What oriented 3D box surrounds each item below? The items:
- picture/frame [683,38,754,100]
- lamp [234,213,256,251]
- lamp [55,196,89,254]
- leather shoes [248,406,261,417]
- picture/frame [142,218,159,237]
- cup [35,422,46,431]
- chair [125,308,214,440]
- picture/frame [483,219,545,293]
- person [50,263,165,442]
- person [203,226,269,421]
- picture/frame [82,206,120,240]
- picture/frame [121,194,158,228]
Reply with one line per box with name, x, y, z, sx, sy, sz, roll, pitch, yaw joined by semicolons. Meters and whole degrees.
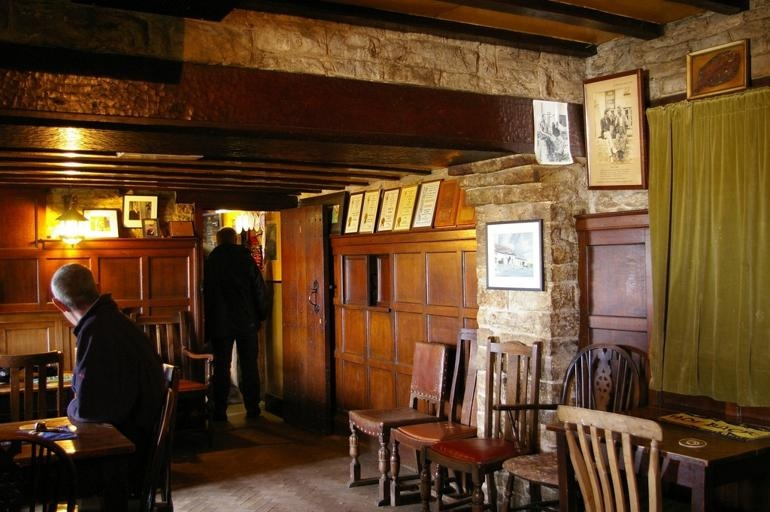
picture/frame;2.258;-1.255;4.025;0.076;0.439;0.555;7;-8;-43
lamp;-2.192;-0.393;9.364;0.355;0.538;0.146;-6;14;42
lamp;-3.613;-0.413;6.881;0.338;0.622;0.416;-2;2;-26
leather shoes;-1.795;2.116;8.237;0.160;0.137;0.148;2;2;7
picture/frame;-2.915;-0.356;7.382;0.263;0.277;0.031;2;0;-30
cup;-2.096;1.037;3.638;0.055;0.048;0.049;2;-6;-13
chair;-2.560;1.360;6.923;1.034;1.271;0.995;3;-1;32
picture/frame;1.090;0.001;4.986;0.064;0.567;0.637;1;-5;-31
person;-1.784;0.626;3.841;0.693;1.157;0.434;-2;2;-13
person;-2.022;0.909;8.100;0.831;2.583;0.403;-2;2;-14
picture/frame;-3.418;-0.391;7.133;0.425;0.410;0.043;-5;-6;-27
picture/frame;-3.043;-0.561;7.335;0.457;0.410;0.019;2;-4;-30
